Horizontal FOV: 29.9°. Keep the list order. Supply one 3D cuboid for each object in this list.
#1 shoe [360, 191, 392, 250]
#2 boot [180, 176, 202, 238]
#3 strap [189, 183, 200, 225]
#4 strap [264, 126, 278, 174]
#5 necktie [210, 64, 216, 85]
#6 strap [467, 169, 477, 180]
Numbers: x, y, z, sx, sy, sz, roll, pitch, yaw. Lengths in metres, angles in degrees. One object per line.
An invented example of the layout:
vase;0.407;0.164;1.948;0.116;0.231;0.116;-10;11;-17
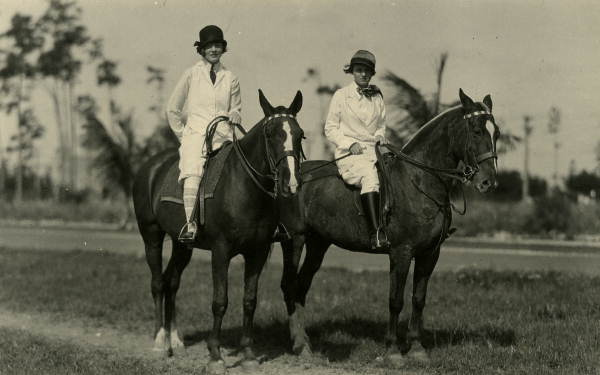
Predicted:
shoe;1.753;0.729;26.219;0.453;1.303;0.503;-4;5;43
boot;-2.516;0.436;25.760;0.396;1.343;0.427;1;-1;-15
strap;-2.408;0.438;25.700;0.247;0.766;0.113;3;-1;1
strap;-0.693;-0.842;25.210;0.152;1.104;0.158;-12;-13;-4
necktie;-2.054;-2.658;26.297;0.131;0.420;0.060;3;-1;-10
strap;3.924;-0.285;25.675;0.053;0.149;0.215;4;-1;-40
